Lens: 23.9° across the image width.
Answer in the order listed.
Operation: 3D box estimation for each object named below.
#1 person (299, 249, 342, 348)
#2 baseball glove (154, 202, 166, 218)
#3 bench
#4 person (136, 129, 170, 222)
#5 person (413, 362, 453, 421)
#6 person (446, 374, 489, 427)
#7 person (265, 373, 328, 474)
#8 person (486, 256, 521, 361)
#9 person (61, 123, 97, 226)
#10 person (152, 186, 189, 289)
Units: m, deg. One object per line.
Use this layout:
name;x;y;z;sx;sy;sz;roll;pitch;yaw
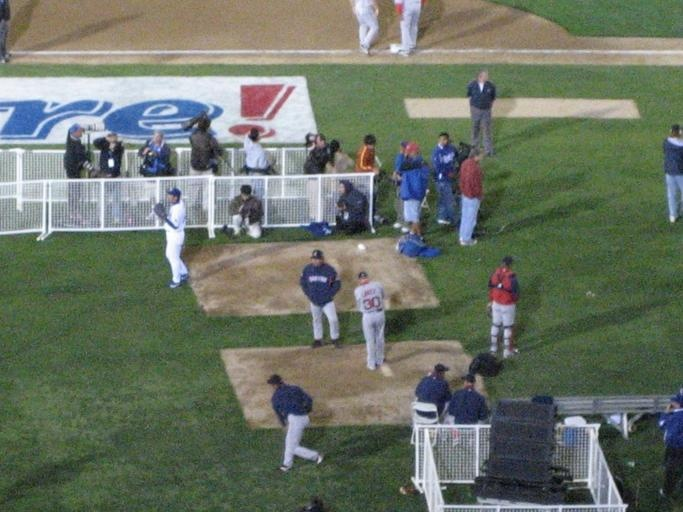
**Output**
person;-0.402;0.886;35.375;0.774;1.968;1.106;1;3;13
baseball glove;-4.189;-1.040;36.689;0.264;0.351;0.104;-32;9;-30
bench;5.680;3.366;33.813;2.354;0.807;0.429;-2;32;0
person;-4.617;-1.978;39.263;0.685;1.965;0.688;6;6;-1
person;1.961;2.895;33.824;0.690;1.385;0.802;16;28;18
person;2.581;3.141;33.158;0.872;0.951;0.786;1;32;4
person;-1.001;3.381;33.412;1.336;1.853;1.128;1;20;-19
person;3.542;1.152;35.133;0.634;2.122;0.723;2;32;6
person;-6.462;-2.095;39.447;0.638;2.195;0.778;1;-2;-11
person;-4.001;-0.390;37.519;1.152;3.074;1.198;4;24;-1
